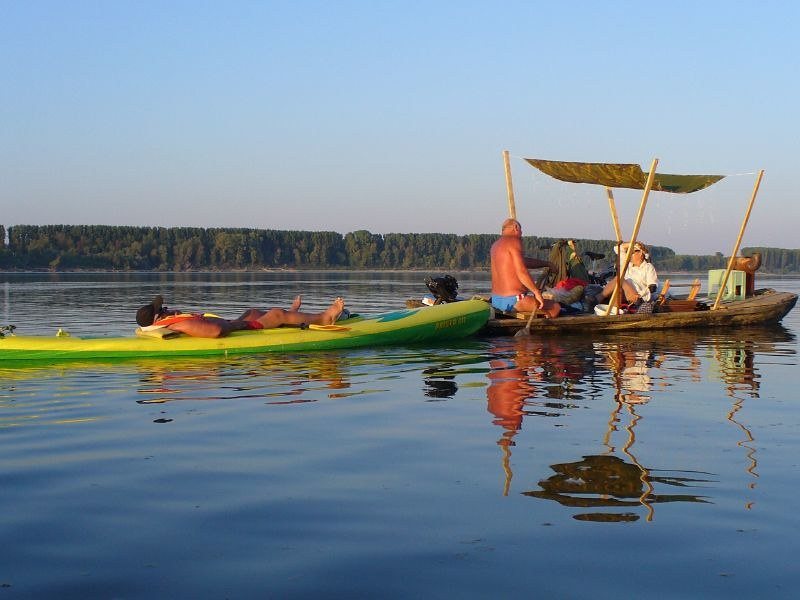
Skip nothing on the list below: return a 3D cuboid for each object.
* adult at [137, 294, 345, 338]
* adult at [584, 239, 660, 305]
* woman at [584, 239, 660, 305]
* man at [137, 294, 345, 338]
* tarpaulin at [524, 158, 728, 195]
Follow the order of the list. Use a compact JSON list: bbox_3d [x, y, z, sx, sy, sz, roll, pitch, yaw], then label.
[{"bbox_3d":[-2.215,0.259,15.960,3.070,0.472,0.942,0,0,-25],"label":"adult"},{"bbox_3d":[3.928,-0.426,19.112,0.994,1.149,1.018,0,5,8],"label":"adult"},{"bbox_3d":[3.932,-0.427,19.126,0.996,1.149,1.047,0,5,8],"label":"woman"},{"bbox_3d":[-2.226,0.201,15.973,3.070,0.472,0.942,0,0,-25],"label":"man"},{"bbox_3d":[3.030,-1.938,16.584,2.723,0.551,3.921,1,3,19],"label":"tarpaulin"}]
